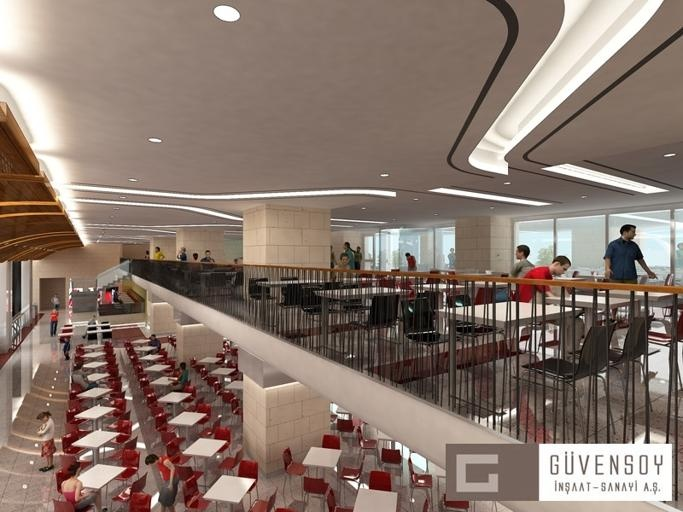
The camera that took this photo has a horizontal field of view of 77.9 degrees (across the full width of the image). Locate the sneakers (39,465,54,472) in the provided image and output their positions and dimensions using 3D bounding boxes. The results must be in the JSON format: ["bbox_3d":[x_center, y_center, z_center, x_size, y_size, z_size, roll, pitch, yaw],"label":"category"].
[{"bbox_3d":[-7.090,5.075,10.114,0.350,0.094,0.213,-1,1,9],"label":"sneakers"}]
